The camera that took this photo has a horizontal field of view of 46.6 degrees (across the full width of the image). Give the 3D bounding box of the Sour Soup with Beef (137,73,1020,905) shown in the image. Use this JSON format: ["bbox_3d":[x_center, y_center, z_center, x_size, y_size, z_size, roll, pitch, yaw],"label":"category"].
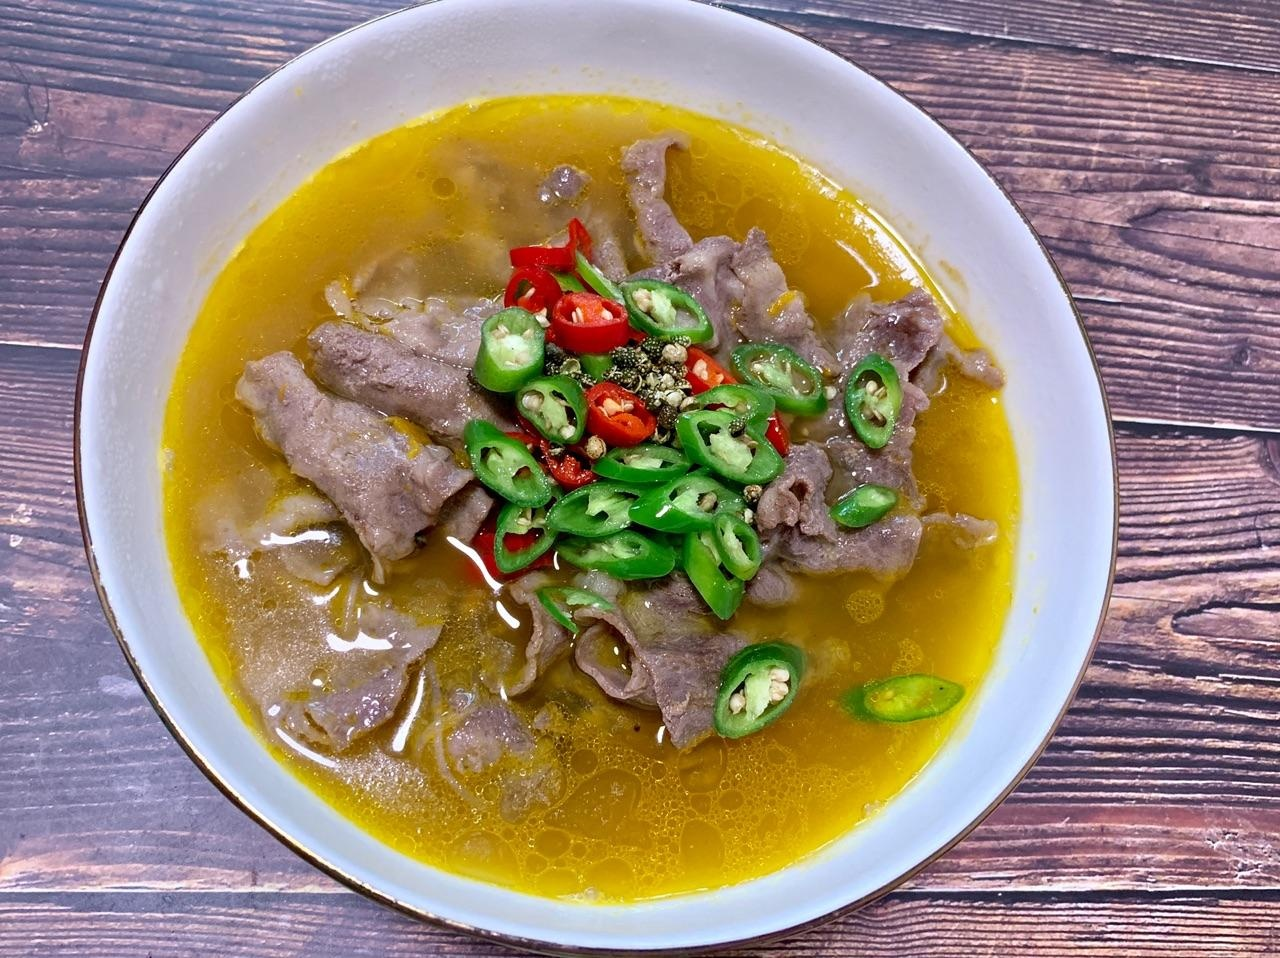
[{"bbox_3d":[-0.303,0.172,6.481,3.734,0.870,3.422,-1,83,-6],"label":"Sour Soup with Beef"}]

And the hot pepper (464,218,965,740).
[{"bbox_3d":[0.246,-0.084,6.546,2.020,0.527,2.101,8,86,-1],"label":"hot pepper"}]
